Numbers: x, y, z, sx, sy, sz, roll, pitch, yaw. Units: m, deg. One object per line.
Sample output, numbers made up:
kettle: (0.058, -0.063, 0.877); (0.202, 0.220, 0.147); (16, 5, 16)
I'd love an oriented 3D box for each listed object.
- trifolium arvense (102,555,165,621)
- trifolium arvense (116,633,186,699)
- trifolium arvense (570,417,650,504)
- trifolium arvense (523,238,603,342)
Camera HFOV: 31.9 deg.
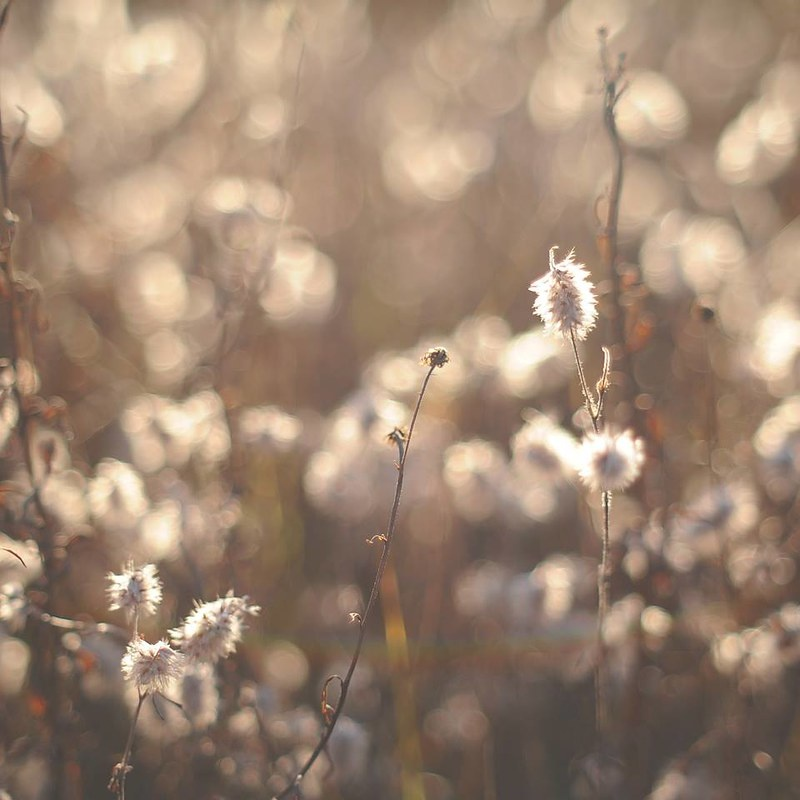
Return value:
trifolium arvense: (-0.361, 0.256, 1.922); (0.082, 0.100, 0.131); (-2, -90, -15)
trifolium arvense: (-0.328, 0.348, 1.830); (0.072, 0.079, 0.058); (19, -39, 9)
trifolium arvense: (0.284, 0.085, 1.927); (0.084, 0.044, 0.103); (3, -96, -2)
trifolium arvense: (0.219, -0.149, 1.872); (0.094, 0.146, 0.084); (34, -63, -13)
